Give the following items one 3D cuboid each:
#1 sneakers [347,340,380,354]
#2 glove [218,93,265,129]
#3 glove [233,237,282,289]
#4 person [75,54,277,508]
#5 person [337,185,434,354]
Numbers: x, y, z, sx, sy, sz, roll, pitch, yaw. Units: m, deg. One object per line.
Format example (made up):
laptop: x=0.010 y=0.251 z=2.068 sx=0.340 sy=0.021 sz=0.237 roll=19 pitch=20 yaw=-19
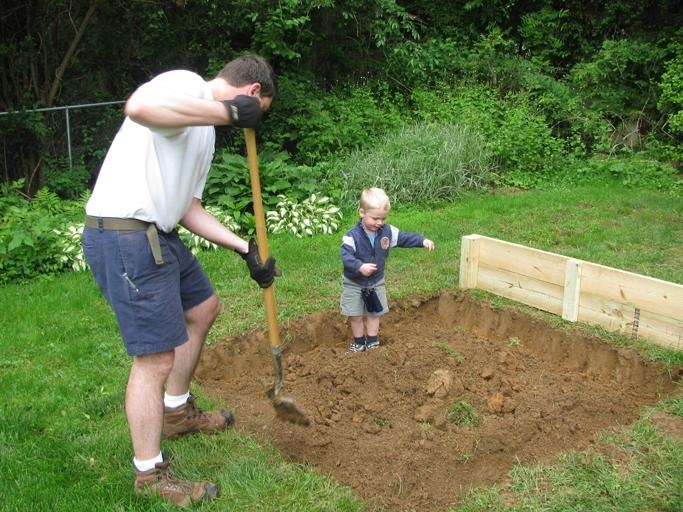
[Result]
sneakers: x=0.235 y=0.952 z=6.975 sx=0.336 sy=0.158 sz=0.123 roll=4 pitch=2 yaw=-19
glove: x=-0.755 y=-1.115 z=5.135 sx=0.264 sy=0.221 sz=0.122 roll=13 pitch=-5 yaw=-31
glove: x=-0.684 y=0.042 z=5.673 sx=0.410 sy=0.295 sz=0.124 roll=46 pitch=22 yaw=17
person: x=-1.291 y=0.140 z=5.392 sx=1.288 sy=3.295 sz=0.862 roll=-15 pitch=20 yaw=-39
person: x=0.474 y=0.232 z=6.754 sx=0.909 sy=1.762 sz=0.861 roll=-2 pitch=15 yaw=-7
